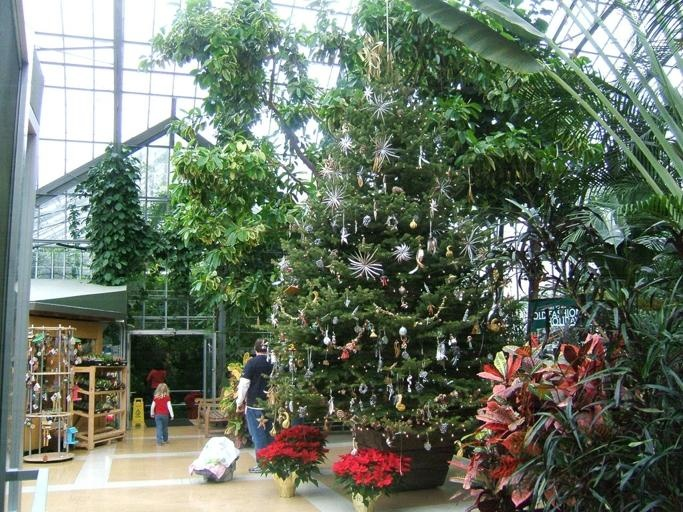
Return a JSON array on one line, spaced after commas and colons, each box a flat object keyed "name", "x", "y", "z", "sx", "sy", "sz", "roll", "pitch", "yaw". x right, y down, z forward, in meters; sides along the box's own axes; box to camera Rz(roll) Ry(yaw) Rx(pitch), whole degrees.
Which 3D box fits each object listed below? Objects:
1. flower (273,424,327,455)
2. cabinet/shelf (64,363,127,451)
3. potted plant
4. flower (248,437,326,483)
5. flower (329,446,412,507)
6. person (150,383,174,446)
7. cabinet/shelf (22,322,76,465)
[{"name": "flower", "x": -0.403, "y": 1.999, "z": 6.727, "sx": 0.392, "sy": 0.197, "sz": 0.399, "roll": 3, "pitch": -7, "yaw": -7}, {"name": "cabinet/shelf", "x": -4.244, "y": 2.626, "z": 10.708, "sx": 0.500, "sy": 1.489, "sz": 1.538, "roll": -1, "pitch": -8, "yaw": 9}, {"name": "potted plant", "x": 0.684, "y": 1.964, "z": 6.546, "sx": 1.161, "sy": 0.715, "sz": 1.001, "roll": -7, "pitch": -13, "yaw": 33}, {"name": "flower", "x": -0.551, "y": 2.224, "z": 6.725, "sx": 0.679, "sy": 0.502, "sz": 0.716, "roll": -1, "pitch": -6, "yaw": -31}, {"name": "flower", "x": 0.277, "y": 2.058, "z": 5.811, "sx": 0.580, "sy": 0.578, "sz": 0.592, "roll": 0, "pitch": 0, "yaw": 34}, {"name": "person", "x": -3.237, "y": 2.864, "z": 11.294, "sx": 0.342, "sy": 1.057, "sz": 1.214, "roll": 0, "pitch": -11, "yaw": -17}, {"name": "cabinet/shelf", "x": -4.531, "y": 2.128, "z": 9.774, "sx": 0.713, "sy": 2.078, "sz": 1.801, "roll": 2, "pitch": -11, "yaw": -26}]
